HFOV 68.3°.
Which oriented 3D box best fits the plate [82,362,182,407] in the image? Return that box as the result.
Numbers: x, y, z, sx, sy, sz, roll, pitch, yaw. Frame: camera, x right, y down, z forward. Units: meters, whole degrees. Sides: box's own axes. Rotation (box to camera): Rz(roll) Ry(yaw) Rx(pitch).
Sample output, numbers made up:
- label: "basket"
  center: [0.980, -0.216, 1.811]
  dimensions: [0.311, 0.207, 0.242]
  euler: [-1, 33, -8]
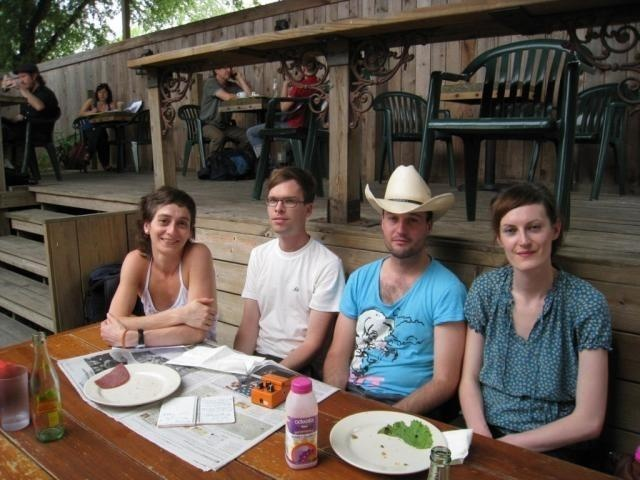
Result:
- label: "plate"
  center: [-0.738, 0.517, 1.732]
  dimensions: [0.210, 0.023, 0.208]
  euler: [-22, 3, 15]

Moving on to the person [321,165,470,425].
- label: "person"
  center: [0.322, 0.281, 2.238]
  dimensions: [0.708, 1.206, 0.698]
  euler: [4, 6, 30]

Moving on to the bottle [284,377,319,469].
- label: "bottle"
  center: [-0.054, 0.509, 1.334]
  dimensions: [0.096, 0.243, 0.095]
  euler: [-1, 12, 0]

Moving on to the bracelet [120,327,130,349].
- label: "bracelet"
  center: [-0.830, 0.414, 2.000]
  dimensions: [0.019, 0.054, 0.046]
  euler: [3, -11, 19]

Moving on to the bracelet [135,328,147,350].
- label: "bracelet"
  center: [-0.767, 0.426, 2.022]
  dimensions: [0.029, 0.068, 0.071]
  euler: [-1, 5, -8]
